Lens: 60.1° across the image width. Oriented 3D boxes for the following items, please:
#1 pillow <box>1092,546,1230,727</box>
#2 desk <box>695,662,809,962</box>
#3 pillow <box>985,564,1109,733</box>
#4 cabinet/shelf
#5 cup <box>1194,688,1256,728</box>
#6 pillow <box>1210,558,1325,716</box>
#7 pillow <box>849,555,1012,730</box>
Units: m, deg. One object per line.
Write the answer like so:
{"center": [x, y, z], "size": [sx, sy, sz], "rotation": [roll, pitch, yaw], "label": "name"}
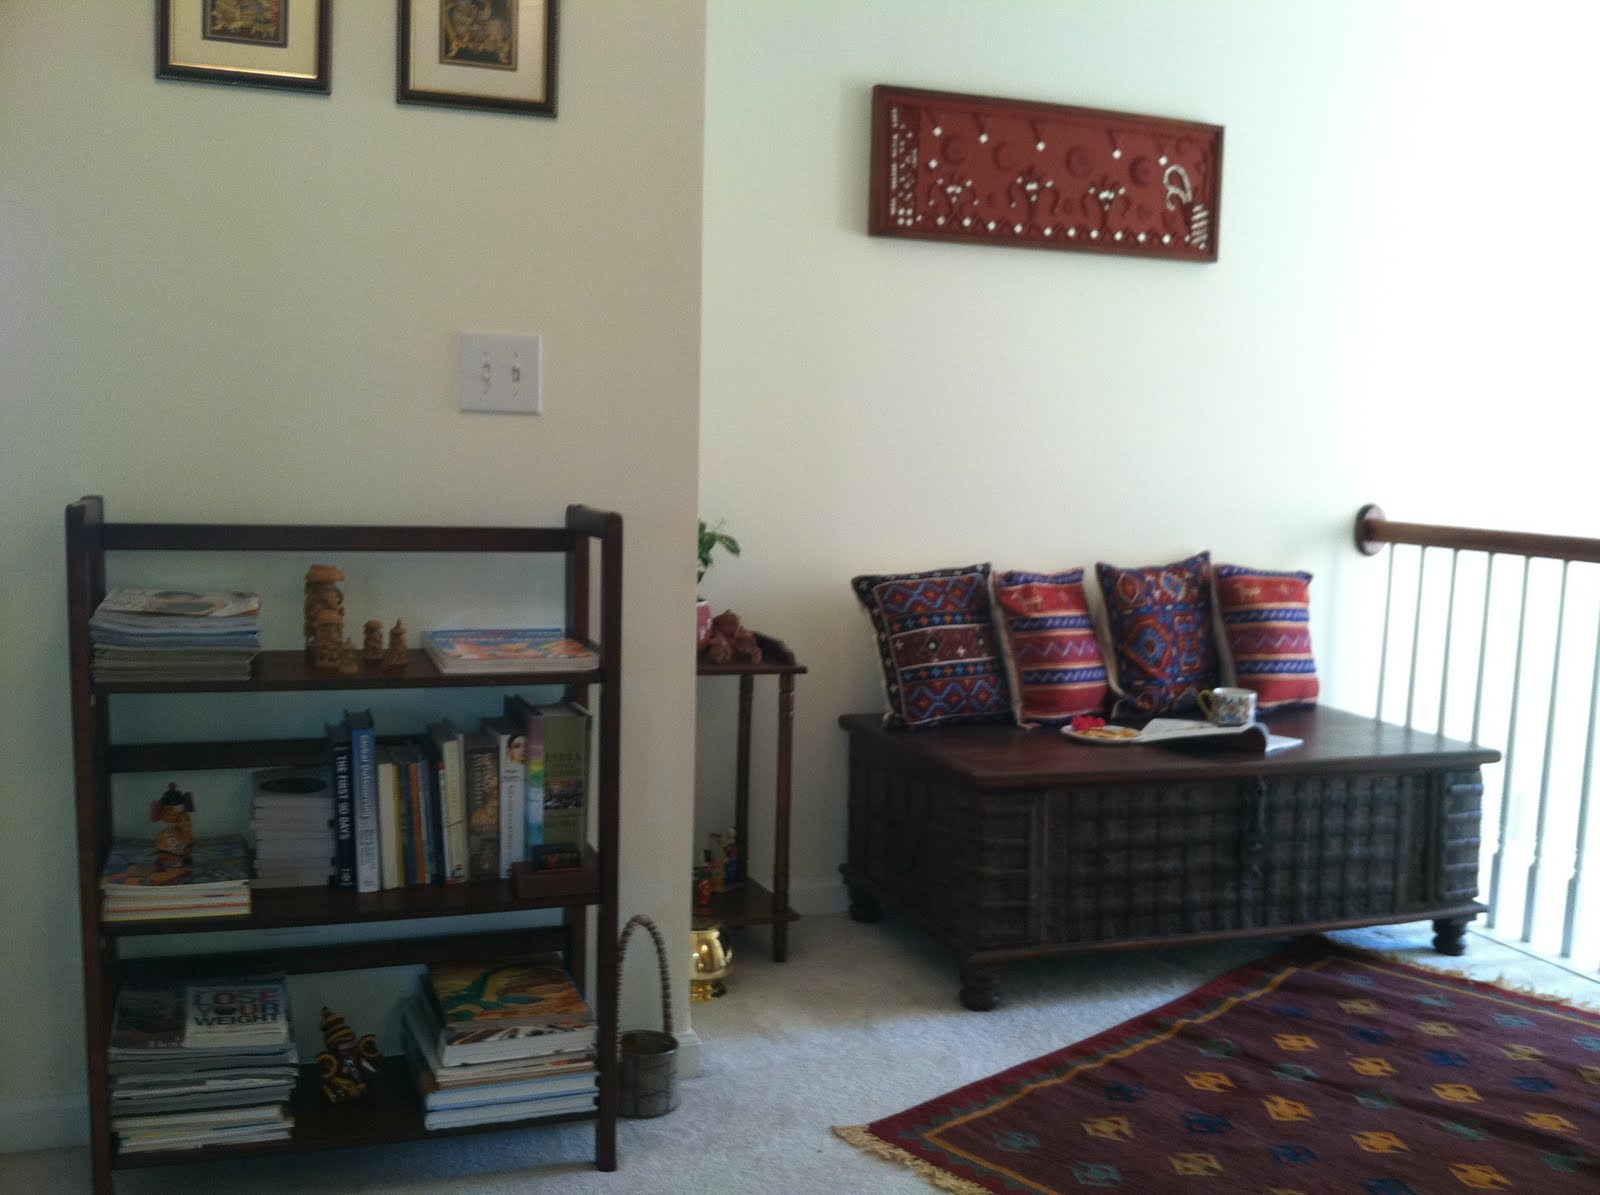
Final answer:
{"center": [1.098, 0.144, 4.231], "size": [0.501, 0.538, 0.215], "rotation": [-3, -6, -30], "label": "pillow"}
{"center": [-0.152, 0.566, 3.981], "size": [0.304, 0.841, 0.542], "rotation": [1, 11, 0], "label": "desk"}
{"center": [0.722, 0.170, 4.114], "size": [0.409, 0.468, 0.181], "rotation": [-12, -7, -31], "label": "pillow"}
{"center": [-0.884, 0.475, 2.864], "size": [1.069, 1.365, 0.572], "rotation": [-1, 11, -9], "label": "cabinet/shelf"}
{"center": [1.223, 0.318, 4.026], "size": [0.144, 0.096, 0.097], "rotation": [1, 1, 16], "label": "cup"}
{"center": [1.435, 0.128, 4.320], "size": [0.492, 0.467, 0.170], "rotation": [3, -12, -39], "label": "pillow"}
{"center": [0.393, 0.154, 4.114], "size": [0.592, 0.555, 0.153], "rotation": [14, -26, -32], "label": "pillow"}
